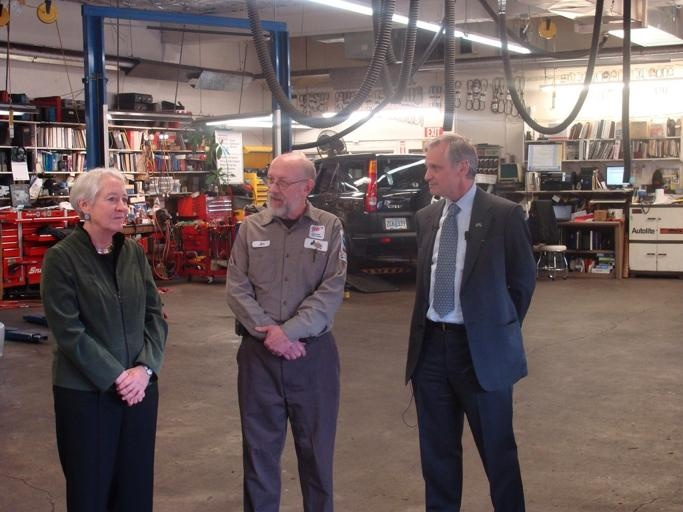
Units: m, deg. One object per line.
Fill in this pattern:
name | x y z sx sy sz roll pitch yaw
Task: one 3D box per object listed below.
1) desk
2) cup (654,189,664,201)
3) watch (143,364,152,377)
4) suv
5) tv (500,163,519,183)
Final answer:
desk | 4.106 -0.330 11.165 1.614 1.427 0.646 -1 -2 21
cup | 5.785 -1.113 11.769 0.212 0.222 0.198 -3 6 0
watch | -0.900 0.534 3.022 0.043 0.042 0.042 10 -31 -28
suv | 0.327 -0.906 10.583 1.222 1.188 2.239 -2 6 -20
tv | 3.594 -1.777 14.058 0.407 0.419 0.411 0 -4 -2
